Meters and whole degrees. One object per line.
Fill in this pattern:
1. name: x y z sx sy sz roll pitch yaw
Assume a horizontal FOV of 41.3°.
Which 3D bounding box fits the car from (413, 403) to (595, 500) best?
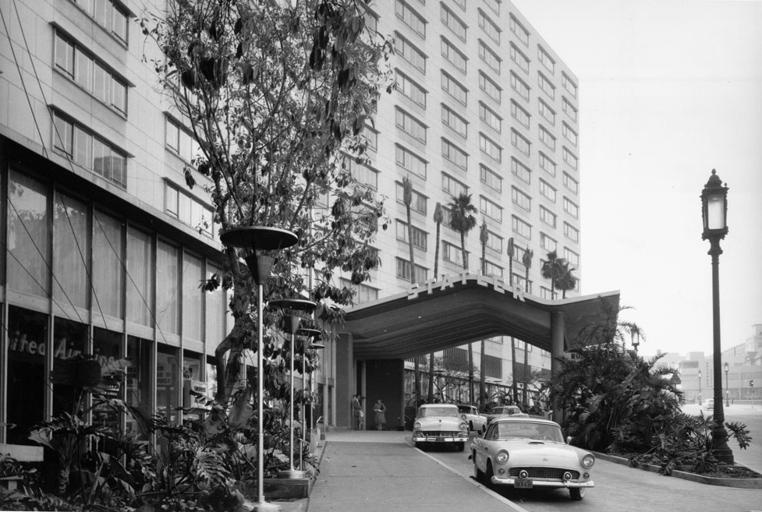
1. car: 4.191 5.666 29.279 2.558 2.980 3.918 12 -22 -28
